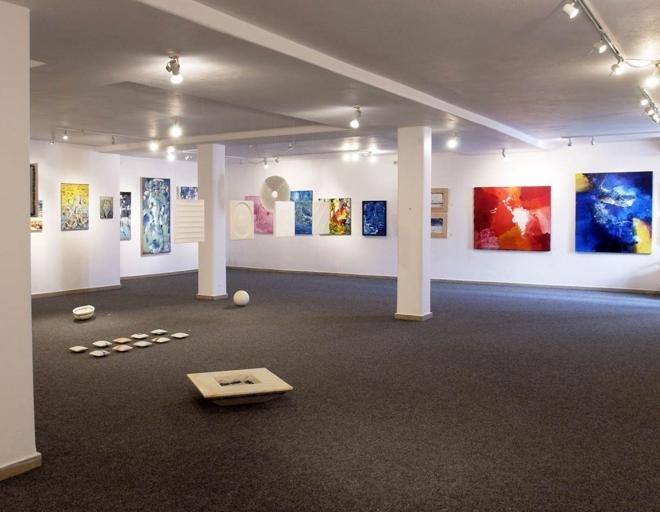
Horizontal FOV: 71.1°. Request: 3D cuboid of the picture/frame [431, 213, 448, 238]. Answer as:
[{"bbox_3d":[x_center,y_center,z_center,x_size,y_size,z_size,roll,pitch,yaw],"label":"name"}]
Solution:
[{"bbox_3d":[3.250,-0.903,13.687,0.711,0.792,0.055,1,0,29],"label":"picture/frame"}]
